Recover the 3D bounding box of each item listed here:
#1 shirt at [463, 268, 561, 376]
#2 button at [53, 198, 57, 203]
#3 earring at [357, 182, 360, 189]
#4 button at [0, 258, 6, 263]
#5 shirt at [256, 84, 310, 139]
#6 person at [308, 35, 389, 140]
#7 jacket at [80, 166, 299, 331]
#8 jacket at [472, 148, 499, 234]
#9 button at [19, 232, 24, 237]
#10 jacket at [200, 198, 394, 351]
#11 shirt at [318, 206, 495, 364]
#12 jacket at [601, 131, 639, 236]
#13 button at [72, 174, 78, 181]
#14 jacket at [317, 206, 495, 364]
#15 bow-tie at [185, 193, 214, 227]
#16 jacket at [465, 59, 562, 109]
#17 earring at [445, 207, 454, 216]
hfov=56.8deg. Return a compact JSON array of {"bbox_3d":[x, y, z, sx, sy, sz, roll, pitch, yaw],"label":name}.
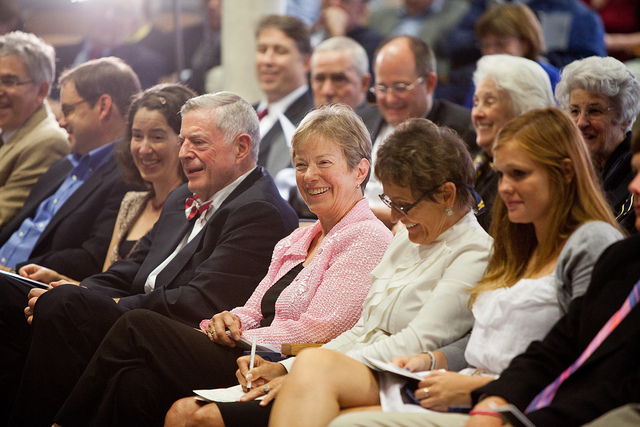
[{"bbox_3d":[0.873,0.492,2.634,0.238,0.425,0.343,29,-14,-5],"label":"shirt"},{"bbox_3d":[-1.807,-0.088,4.027,0.024,0.026,0.006,-11,-4,28],"label":"button"},{"bbox_3d":[0.214,-0.162,3.343,0.027,0.037,0.012,-4,6,-42],"label":"earring"},{"bbox_3d":[-2.155,0.315,4.008,0.025,0.028,0.007,2,-4,-8],"label":"button"},{"bbox_3d":[-0.399,-0.972,5.548,0.606,0.188,0.667,-3,46,0],"label":"shirt"},{"bbox_3d":[0.268,-1.133,5.587,0.731,1.115,0.701,1,23,-1],"label":"person"},{"bbox_3d":[-0.814,0.181,3.797,1.214,0.960,0.912,6,3,-30],"label":"jacket"},{"bbox_3d":[0.947,-0.111,3.375,0.153,0.167,0.503,8,32,13],"label":"jacket"},{"bbox_3d":[-2.037,0.142,4.020,0.029,0.032,0.008,-1,-3,-6],"label":"button"},{"bbox_3d":[-0.201,0.399,3.345,1.003,1.085,0.804,7,-4,-16],"label":"jacket"},{"bbox_3d":[0.344,0.383,3.226,0.812,1.037,0.620,8,-4,-11],"label":"shirt"},{"bbox_3d":[1.521,-0.138,2.989,0.168,0.197,0.547,17,45,14],"label":"jacket"},{"bbox_3d":[-1.673,-0.248,4.020,0.037,0.041,0.010,0,-1,-7],"label":"button"},{"bbox_3d":[0.541,0.390,3.313,0.813,1.048,0.619,8,-4,-11],"label":"jacket"},{"bbox_3d":[-0.781,-0.030,3.750,0.171,0.210,0.072,15,5,34],"label":"bow-tie"},{"bbox_3d":[1.491,-0.882,4.364,0.563,0.382,0.514,0,4,-3],"label":"jacket"},{"bbox_3d":[0.639,-0.013,2.931,0.034,0.037,0.009,1,9,-2],"label":"earring"}]
